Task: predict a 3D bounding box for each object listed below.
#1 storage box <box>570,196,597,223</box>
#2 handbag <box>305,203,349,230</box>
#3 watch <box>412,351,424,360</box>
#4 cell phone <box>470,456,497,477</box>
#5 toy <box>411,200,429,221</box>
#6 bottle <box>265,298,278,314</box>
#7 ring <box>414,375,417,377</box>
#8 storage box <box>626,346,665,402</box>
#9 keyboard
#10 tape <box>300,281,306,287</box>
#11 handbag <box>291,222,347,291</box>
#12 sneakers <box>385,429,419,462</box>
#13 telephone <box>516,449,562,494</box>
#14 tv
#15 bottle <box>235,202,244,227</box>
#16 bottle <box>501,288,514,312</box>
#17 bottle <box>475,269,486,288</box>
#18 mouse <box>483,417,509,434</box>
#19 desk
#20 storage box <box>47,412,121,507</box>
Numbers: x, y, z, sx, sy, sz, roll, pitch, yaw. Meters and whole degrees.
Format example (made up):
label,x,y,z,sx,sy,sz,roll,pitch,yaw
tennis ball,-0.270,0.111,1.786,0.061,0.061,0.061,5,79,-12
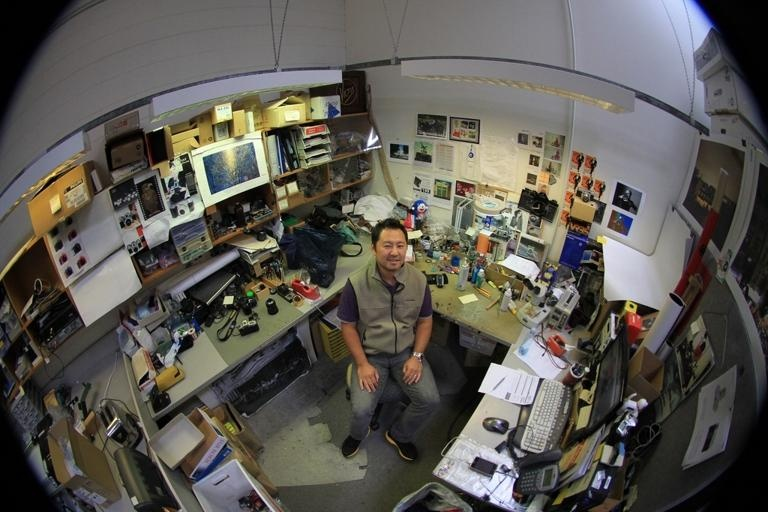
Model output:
label,x,y,z,sx,sy,sz,roll,pitch,yaw
storage box,1.505,-0.350,3.595,0.145,0.136,0.080,32,47,29
handbag,-0.511,-0.371,4.420,0.289,0.115,0.229,-7,27,-39
watch,0.254,0.731,3.499,0.076,0.082,0.053,-14,51,28
cell phone,0.619,1.274,2.900,0.121,0.027,0.088,17,57,19
toy,0.329,-0.415,4.362,0.121,0.144,0.101,-21,35,-24
bottle,-0.873,0.405,3.770,0.103,0.114,0.103,-13,34,-8
ring,0.230,0.863,3.435,0.012,0.014,0.014,3,6,9
storage box,1.603,0.737,2.933,0.163,0.231,0.230,-17,38,-21
keyboard,1.010,1.058,3.065,0.310,0.082,0.607,11,49,24
tape,-0.655,0.230,3.905,0.037,0.036,0.037,-6,15,-27
handbag,-0.541,0.031,3.952,0.466,0.492,0.240,9,16,8
sneakers,0.162,1.455,3.649,0.275,0.113,0.152,29,34,22
telephone,0.908,1.267,2.824,0.243,0.213,0.228,6,34,17
tv,1.359,0.778,2.909,0.148,0.405,0.574,23,69,2
bottle,-1.149,-0.327,3.830,0.056,0.175,0.100,-13,39,-22
bottle,0.945,0.345,3.671,0.066,0.219,0.067,3,35,-2
bottle,0.774,0.182,3.868,0.064,0.160,0.074,22,38,30
mouse,0.716,1.089,3.077,0.106,0.059,0.104,0,1,22
desk,0.746,1.049,3.082,0.803,0.283,1.281,0,42,39
storage box,-1.828,1.264,2.916,0.147,0.410,0.412,-37,37,1
